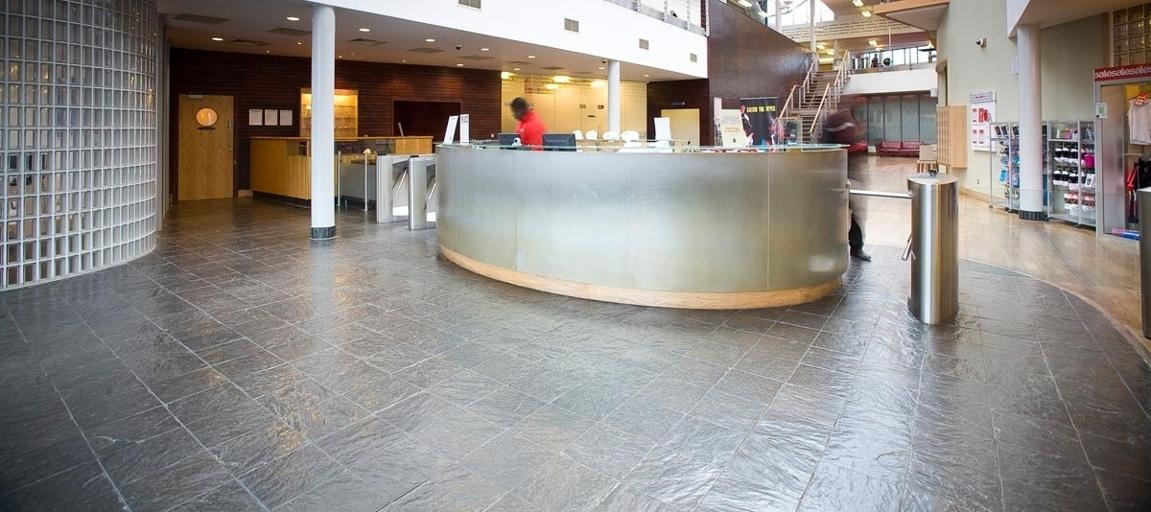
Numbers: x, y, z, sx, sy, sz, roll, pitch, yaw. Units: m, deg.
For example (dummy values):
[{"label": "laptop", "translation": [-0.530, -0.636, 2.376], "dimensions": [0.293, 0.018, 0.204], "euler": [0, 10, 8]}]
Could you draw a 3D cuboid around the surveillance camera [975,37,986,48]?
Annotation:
[{"label": "surveillance camera", "translation": [11.043, -5.886, 15.534], "dimensions": [0.287, 0.278, 0.247], "euler": [-1, 2, -14]}]

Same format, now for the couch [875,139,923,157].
[{"label": "couch", "translation": [17.038, -5.783, 30.308], "dimensions": [1.648, 0.695, 2.328], "euler": [-7, 16, -25]}]

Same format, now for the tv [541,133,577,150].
[{"label": "tv", "translation": [-0.285, -1.907, 9.388], "dimensions": [0.715, 0.263, 0.338], "euler": [5, 16, 20]}]

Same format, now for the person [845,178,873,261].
[{"label": "person", "translation": [5.323, -0.607, 10.688], "dimensions": [0.486, 1.238, 0.734], "euler": [7, 17, 23]}]

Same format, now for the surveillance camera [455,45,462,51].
[{"label": "surveillance camera", "translation": [-3.354, -6.044, 16.353], "dimensions": [0.121, 0.079, 0.098], "euler": [-2, 1, -3]}]

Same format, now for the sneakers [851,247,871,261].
[{"label": "sneakers", "translation": [5.336, -0.050, 10.660], "dimensions": [0.225, 0.133, 0.353], "euler": [-14, 14, -33]}]
